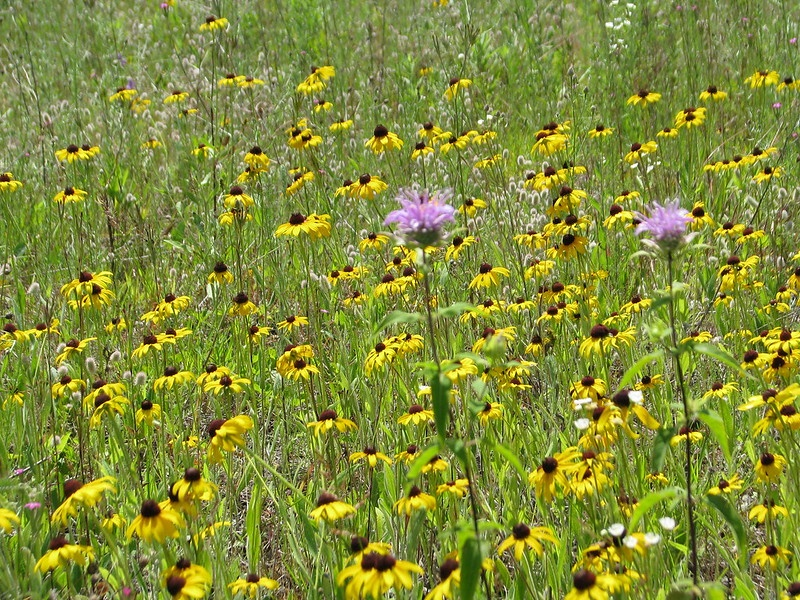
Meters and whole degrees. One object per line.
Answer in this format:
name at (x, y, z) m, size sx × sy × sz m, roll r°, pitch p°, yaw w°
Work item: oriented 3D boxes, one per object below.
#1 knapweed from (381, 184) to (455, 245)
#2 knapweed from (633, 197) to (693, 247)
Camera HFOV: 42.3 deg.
knapweed at (0.108, -0.462, 5.736) m, size 0.383 × 0.289 × 0.393 m, roll -12°, pitch 29°, yaw 0°
knapweed at (1.470, -0.464, 5.776) m, size 0.294 × 0.239 × 0.381 m, roll -3°, pitch 30°, yaw 14°
